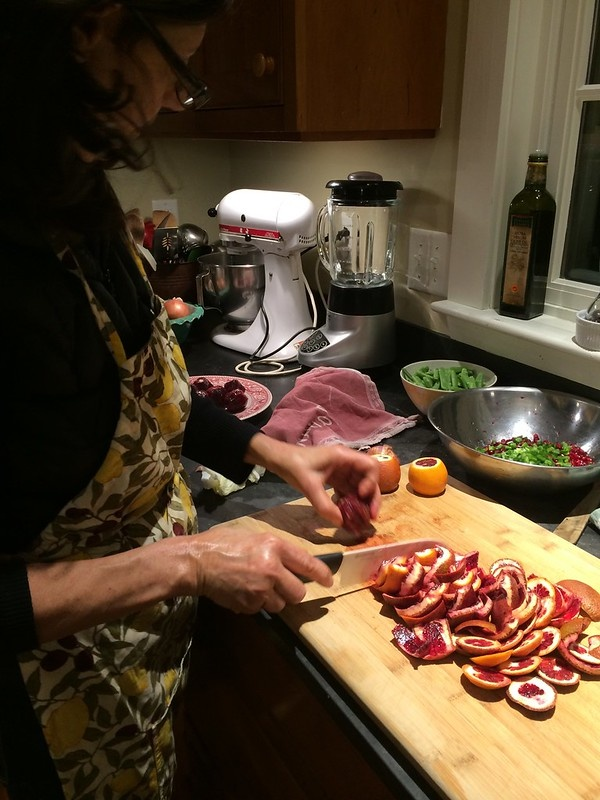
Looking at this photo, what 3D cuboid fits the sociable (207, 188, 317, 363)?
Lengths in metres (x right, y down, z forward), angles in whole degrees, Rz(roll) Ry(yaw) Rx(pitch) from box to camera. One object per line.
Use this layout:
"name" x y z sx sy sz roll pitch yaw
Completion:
"sociable" -0.060 -0.333 1.557 0.219 0.444 0.330 -10 27 -25

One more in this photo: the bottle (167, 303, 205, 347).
"bottle" -0.324 -0.213 1.679 0.134 0.086 0.134 0 18 0

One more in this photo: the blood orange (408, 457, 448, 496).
"blood orange" 0.203 0.122 0.913 0.061 0.055 0.060 -3 9 -2
